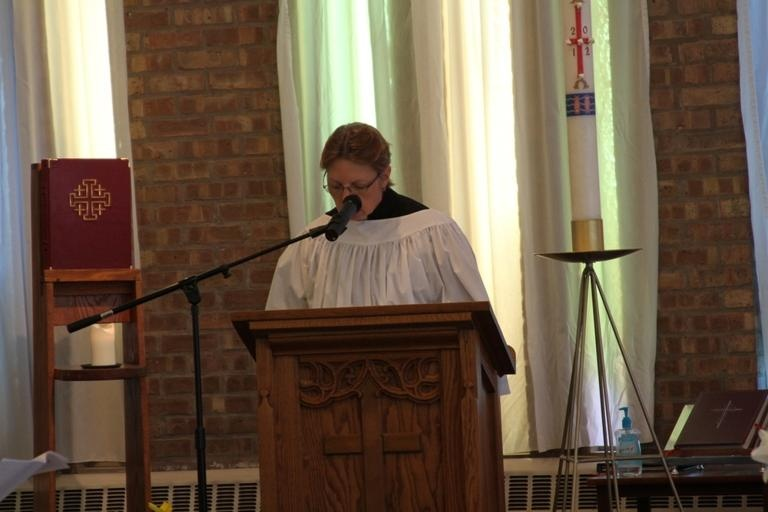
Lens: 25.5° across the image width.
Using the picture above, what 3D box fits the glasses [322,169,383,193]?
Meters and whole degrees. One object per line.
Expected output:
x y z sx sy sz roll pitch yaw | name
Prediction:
-0.125 -0.340 7.417 0.260 0.123 0.129 -5 -5 0 | glasses

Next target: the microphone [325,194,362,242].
-0.155 -0.177 7.089 0.079 0.118 0.301 26 35 5 | microphone
